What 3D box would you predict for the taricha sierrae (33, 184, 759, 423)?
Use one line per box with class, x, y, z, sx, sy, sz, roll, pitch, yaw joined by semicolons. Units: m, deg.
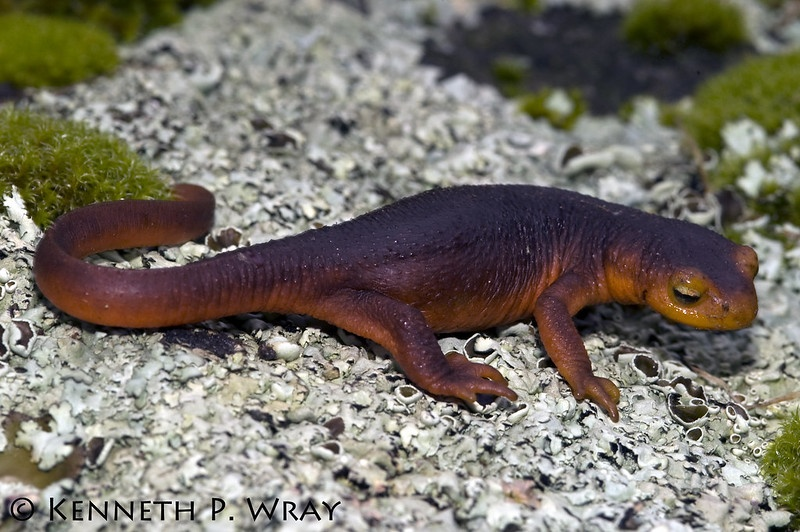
taricha sierrae;0.111;0.119;6.884;5.936;0.874;1.834;0;59;-8
